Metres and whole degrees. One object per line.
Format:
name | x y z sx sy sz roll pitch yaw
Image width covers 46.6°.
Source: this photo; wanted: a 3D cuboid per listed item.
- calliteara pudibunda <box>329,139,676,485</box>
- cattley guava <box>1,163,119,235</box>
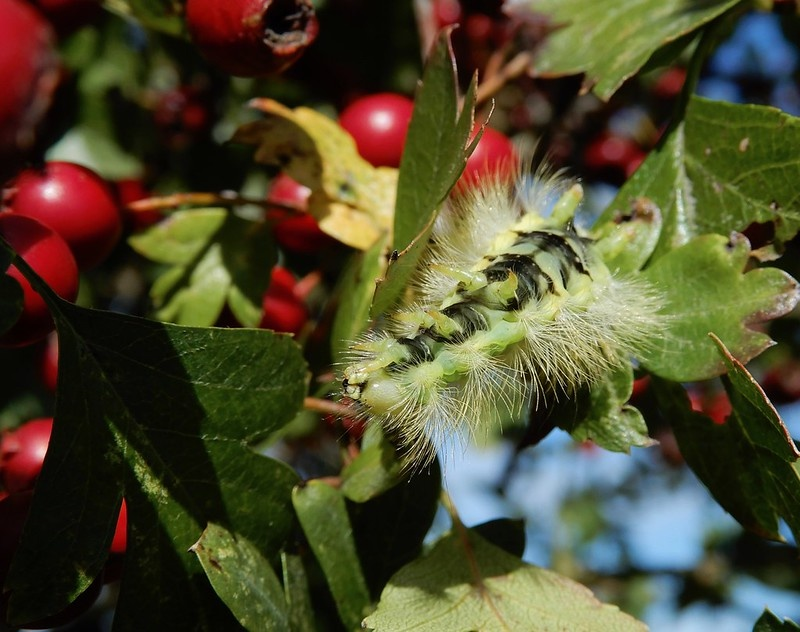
calliteara pudibunda | 0.177 0.020 1.640 0.435 0.262 0.584 32 55 31
cattley guava | -0.602 -0.200 1.644 0.150 0.113 0.129 24 54 -35
